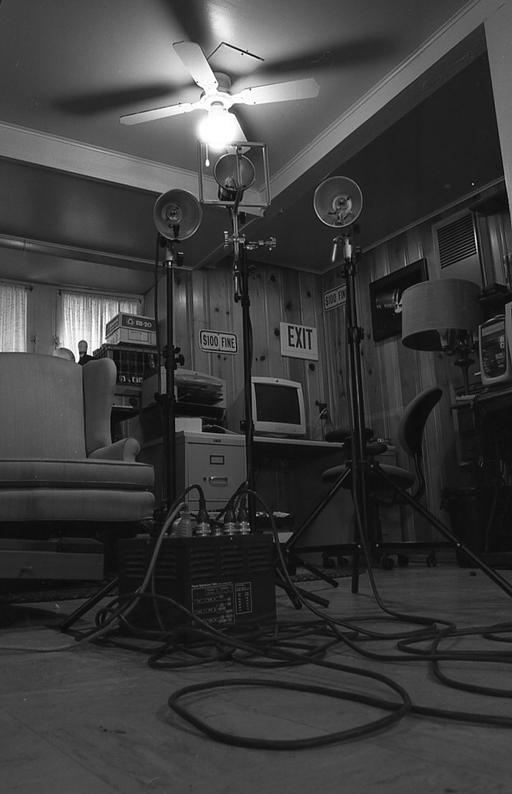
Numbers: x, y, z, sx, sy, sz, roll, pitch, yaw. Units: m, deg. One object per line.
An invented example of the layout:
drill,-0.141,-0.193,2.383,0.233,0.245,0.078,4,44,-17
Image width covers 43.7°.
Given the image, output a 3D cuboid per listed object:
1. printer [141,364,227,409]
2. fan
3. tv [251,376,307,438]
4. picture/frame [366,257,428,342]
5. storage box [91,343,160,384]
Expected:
printer,-0.388,-0.041,3.648,0.333,0.194,0.243,4,-5,-42
fan,-0.202,-1.580,3.411,0.934,0.361,0.949,-2,-3,-29
tv,0.136,0.078,4.054,0.303,0.314,0.188,9,-25,-28
picture/frame,0.992,-0.675,4.457,0.061,0.568,0.601,7,-20,-21
storage box,-0.820,-0.230,4.191,0.320,0.267,0.322,3,-6,-40
